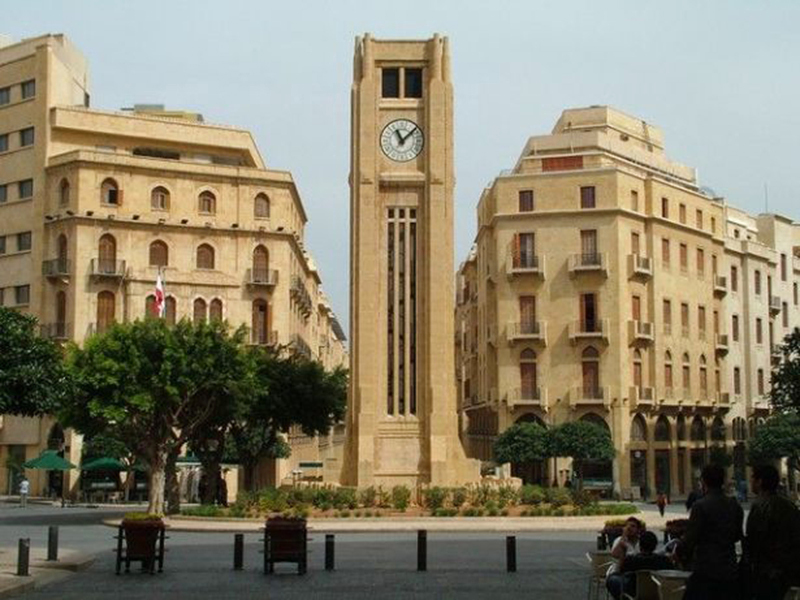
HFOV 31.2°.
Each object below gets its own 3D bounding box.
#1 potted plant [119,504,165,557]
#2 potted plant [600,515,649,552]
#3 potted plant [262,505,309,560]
[{"bbox_3d":[-9.783,8.940,54.783,1.675,1.522,1.677,-3,-6,30],"label":"potted plant"},{"bbox_3d":[8.292,9.096,56.547,2.301,1.567,2.241,5,-11,-26],"label":"potted plant"},{"bbox_3d":[-4.284,9.100,55.379,1.737,2.070,1.704,-1,-4,4],"label":"potted plant"}]
